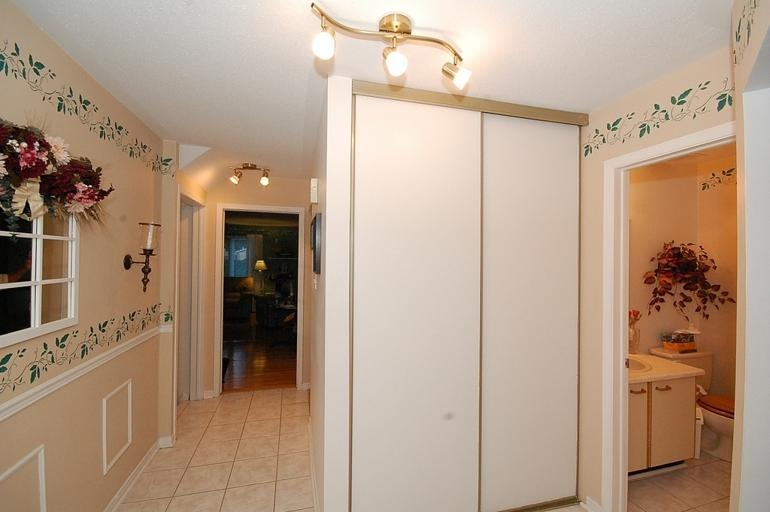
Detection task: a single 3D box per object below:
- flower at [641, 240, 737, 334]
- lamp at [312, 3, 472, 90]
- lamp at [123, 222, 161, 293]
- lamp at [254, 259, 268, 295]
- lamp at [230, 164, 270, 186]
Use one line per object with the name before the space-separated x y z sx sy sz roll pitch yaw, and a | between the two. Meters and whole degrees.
flower | 2.802 0.260 4.876 0.813 0.785 0.255 0 1 -10
lamp | 0.036 -1.327 3.431 1.060 0.437 0.421 0 1 -14
lamp | -1.965 0.013 4.351 0.197 0.584 0.473 0 1 -2
lamp | -2.444 0.405 10.311 0.246 0.677 0.197 0 1 -13
lamp | -1.408 -0.836 5.512 0.396 0.210 0.674 0 0 -13
